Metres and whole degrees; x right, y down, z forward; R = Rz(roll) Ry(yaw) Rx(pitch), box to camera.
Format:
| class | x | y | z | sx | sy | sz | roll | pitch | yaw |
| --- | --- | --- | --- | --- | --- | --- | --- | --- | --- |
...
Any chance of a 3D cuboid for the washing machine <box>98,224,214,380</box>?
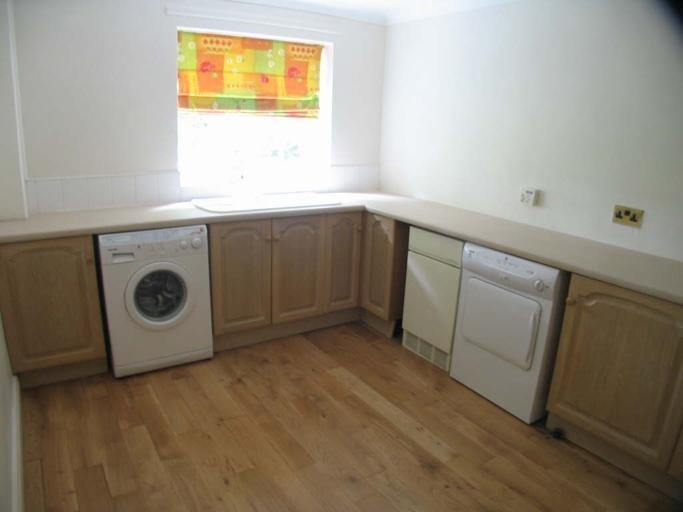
| class | x | y | z | sx | sy | sz | roll | pitch | yaw |
| --- | --- | --- | --- | --- | --- | --- | --- | --- | --- |
| washing machine | -1.269 | 0.287 | 3.197 | 0.751 | 1.190 | 0.598 | -8 | 15 | -33 |

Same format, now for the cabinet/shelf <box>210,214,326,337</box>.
| class | x | y | z | sx | sy | sz | roll | pitch | yaw |
| --- | --- | --- | --- | --- | --- | --- | --- | --- | --- |
| cabinet/shelf | -0.577 | 0.111 | 3.564 | 0.769 | 0.787 | 0.300 | -7 | 13 | -34 |

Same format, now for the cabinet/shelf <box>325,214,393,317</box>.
| class | x | y | z | sx | sy | sz | roll | pitch | yaw |
| --- | --- | --- | --- | --- | --- | --- | --- | --- | --- |
| cabinet/shelf | 0.149 | 0.039 | 3.823 | 0.482 | 1.029 | 0.508 | -8 | 18 | -34 |
